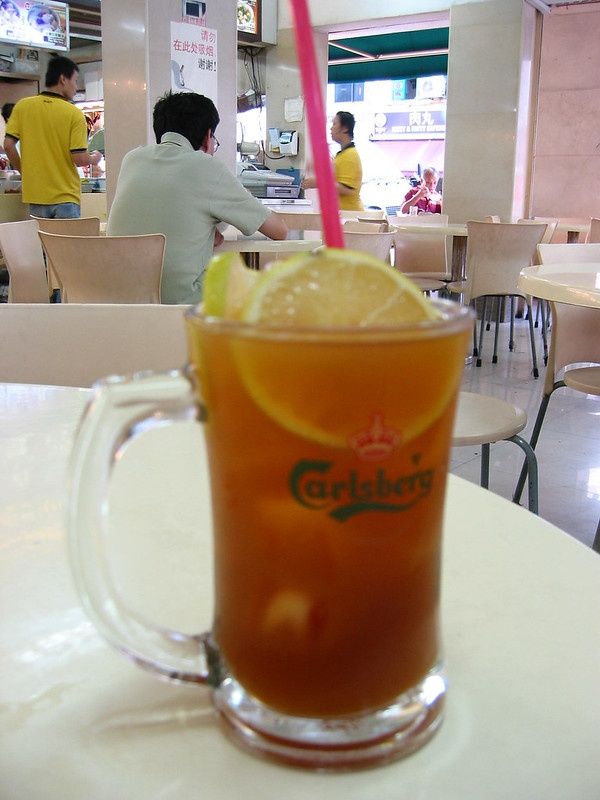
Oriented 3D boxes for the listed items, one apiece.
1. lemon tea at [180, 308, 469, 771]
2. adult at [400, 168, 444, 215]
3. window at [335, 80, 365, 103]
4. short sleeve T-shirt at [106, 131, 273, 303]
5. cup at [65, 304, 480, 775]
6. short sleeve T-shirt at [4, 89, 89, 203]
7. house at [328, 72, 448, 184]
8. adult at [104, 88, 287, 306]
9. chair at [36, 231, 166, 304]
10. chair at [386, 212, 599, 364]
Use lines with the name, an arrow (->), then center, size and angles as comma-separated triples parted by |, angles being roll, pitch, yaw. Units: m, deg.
lemon tea -> 0.010, 0.047, 0.272 | 0.103, 0.154, 0.104 | 0, -2, 43
adult -> 1.648, -2.848, 8.870 | 0.498, 0.599, 1.160 | 2, 15, 9
window -> 1.182, -7.362, 15.659 | 0.597, 0.363, 0.355 | -1, 22, -5
short sleeve T-shirt -> -0.434, -0.689, 2.578 | 0.608, 0.595, 0.206 | -1, 15, -4
cup -> -0.007, 0.037, 0.318 | 0.186, 0.185, 0.119 | -7, 14, -23
short sleeve T-shirt -> -1.620, -1.607, 4.248 | 0.425, 0.636, 0.283 | -6, 16, -22
house -> 2.773, -6.620, 17.237 | 3.352, 3.077, 1.877 | 22, 30, 39
adult -> -0.483, -0.638, 2.796 | 0.646, 1.219, 0.675 | 14, 25, 11
chair -> -0.683, -0.451, 2.244 | 0.446, 0.239, 0.171 | 4, 16, 18
chair -> 1.193, -0.957, 4.837 | 1.118, 0.806, 1.091 | -1, 26, 0
